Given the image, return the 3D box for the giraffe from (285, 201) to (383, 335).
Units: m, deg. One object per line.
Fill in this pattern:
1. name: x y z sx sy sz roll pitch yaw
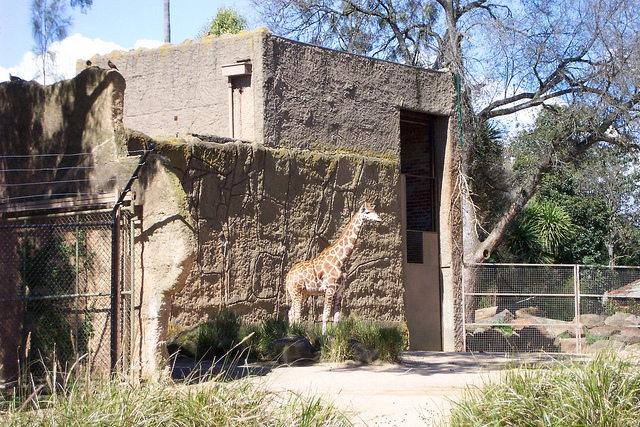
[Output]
1. giraffe: 0.172 1.187 23.970 1.913 2.872 0.837 0 -10 -3
